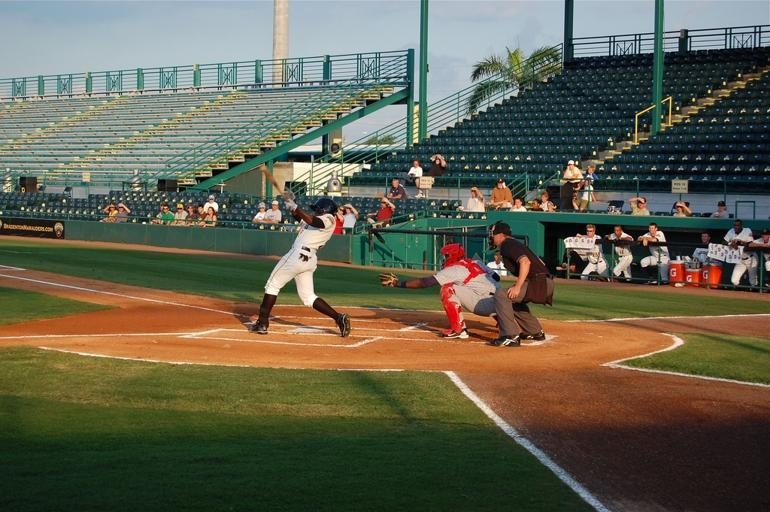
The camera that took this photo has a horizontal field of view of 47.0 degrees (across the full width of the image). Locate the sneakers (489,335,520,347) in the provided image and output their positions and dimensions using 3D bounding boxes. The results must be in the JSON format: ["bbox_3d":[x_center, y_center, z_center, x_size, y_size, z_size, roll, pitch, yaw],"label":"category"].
[{"bbox_3d":[1.829,1.326,13.547,0.454,0.130,0.157,2,3,5],"label":"sneakers"}]

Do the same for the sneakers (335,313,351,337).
[{"bbox_3d":[-0.668,1.111,13.933,0.205,0.397,0.196,0,17,-3],"label":"sneakers"}]

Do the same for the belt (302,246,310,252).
[{"bbox_3d":[-1.235,-0.097,13.962,0.152,0.066,0.040,-5,18,-25],"label":"belt"}]

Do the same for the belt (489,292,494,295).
[{"bbox_3d":[1.675,0.606,13.904,0.082,0.037,0.018,0,-6,30],"label":"belt"}]

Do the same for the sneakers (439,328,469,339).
[{"bbox_3d":[1.125,1.256,14.151,0.503,0.152,0.172,3,-1,0],"label":"sneakers"}]

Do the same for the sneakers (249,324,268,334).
[{"bbox_3d":[-1.984,1.174,14.086,0.315,0.086,0.140,6,4,6],"label":"sneakers"}]

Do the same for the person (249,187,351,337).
[{"bbox_3d":[-1.330,0.120,14.094,1.577,2.284,1.092,0,17,-3],"label":"person"}]

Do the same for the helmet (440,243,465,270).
[{"bbox_3d":[0.954,-0.002,14.522,0.626,0.378,0.406,4,-5,8],"label":"helmet"}]

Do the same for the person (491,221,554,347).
[{"bbox_3d":[2.103,0.479,13.787,1.026,1.935,1.096,3,17,5],"label":"person"}]
